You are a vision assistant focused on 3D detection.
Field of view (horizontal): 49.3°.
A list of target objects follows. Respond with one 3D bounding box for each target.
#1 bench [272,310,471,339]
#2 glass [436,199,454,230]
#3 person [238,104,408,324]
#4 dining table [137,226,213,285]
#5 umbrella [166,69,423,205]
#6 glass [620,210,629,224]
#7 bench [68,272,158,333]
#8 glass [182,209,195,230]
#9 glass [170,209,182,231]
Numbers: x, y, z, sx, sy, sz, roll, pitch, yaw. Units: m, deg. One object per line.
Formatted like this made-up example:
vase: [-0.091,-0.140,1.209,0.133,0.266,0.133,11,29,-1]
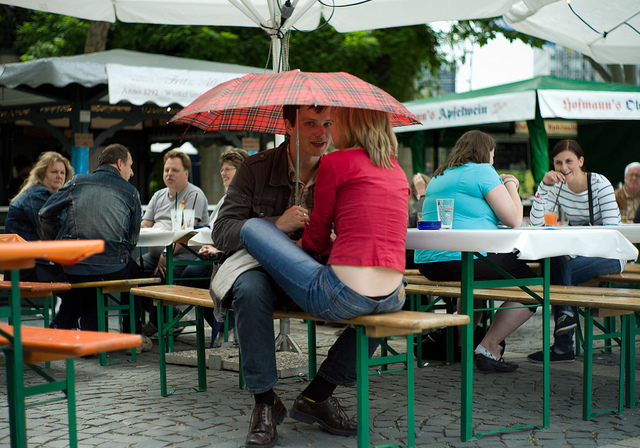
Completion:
bench: [0.388,0.733,4.998,1.276,0.204,0.456,0,-2,17]
glass: [1.010,-0.076,5.653,0.121,0.240,0.301,0,-1,10]
person: [0.196,-0.091,5.423,1.079,1.773,1.370,-2,-13,34]
dining table: [-1.550,0.325,7.779,0.773,0.513,1.022,-4,5,-43]
umbrella: [-0.279,-0.647,5.572,1.588,0.953,1.492,4,-4,-37]
glass: [3.918,-0.087,8.997,0.124,0.149,0.233,-1,-1,13]
bench: [-2.203,0.919,7.540,0.624,0.448,0.648,-12,5,23]
glass: [-1.509,-0.044,7.955,0.116,0.221,0.232,0,-1,-14]
glass: [-1.610,-0.037,7.801,0.120,0.237,0.459,0,-2,-12]
